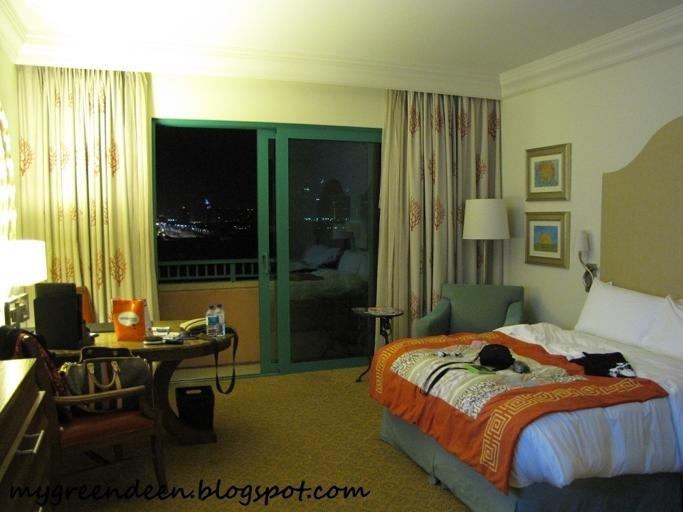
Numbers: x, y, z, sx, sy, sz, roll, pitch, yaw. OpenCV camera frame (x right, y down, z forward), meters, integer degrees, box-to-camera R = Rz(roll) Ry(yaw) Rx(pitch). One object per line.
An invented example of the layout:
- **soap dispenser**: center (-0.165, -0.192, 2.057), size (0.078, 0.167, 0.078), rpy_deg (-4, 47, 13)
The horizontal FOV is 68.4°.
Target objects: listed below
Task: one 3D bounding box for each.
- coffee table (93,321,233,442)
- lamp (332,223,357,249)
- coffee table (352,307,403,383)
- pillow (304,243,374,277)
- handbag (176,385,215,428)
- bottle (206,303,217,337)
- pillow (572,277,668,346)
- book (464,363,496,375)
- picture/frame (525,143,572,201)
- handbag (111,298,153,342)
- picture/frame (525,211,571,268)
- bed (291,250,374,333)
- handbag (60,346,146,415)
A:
- **coffee table**: center (-1.435, 1.090, 4.088), size (1.140, 0.749, 1.158), rpy_deg (-10, -9, 33)
- **lamp**: center (0.033, -0.245, 5.715), size (0.296, 0.304, 0.240), rpy_deg (0, 4, -10)
- **coffee table**: center (0.456, 0.977, 5.463), size (0.539, 0.705, 0.618), rpy_deg (8, -15, 10)
- **pillow**: center (-0.033, -0.013, 5.702), size (0.503, 0.186, 0.378), rpy_deg (10, 10, -9)
- **handbag**: center (-1.217, 1.293, 4.203), size (0.298, 0.332, 0.236), rpy_deg (1, -13, -22)
- **bottle**: center (-1.019, 0.498, 3.954), size (0.090, 0.216, 0.226), rpy_deg (-2, 9, -18)
- **pillow**: center (2.387, 0.499, 4.291), size (0.148, 0.453, 0.558), rpy_deg (28, 1, -24)
- **book**: center (0.998, 0.821, 3.627), size (0.071, 0.047, 0.301), rpy_deg (10, 0, -19)
- **picture/frame**: center (2.195, -0.880, 5.389), size (0.046, 0.583, 0.564), rpy_deg (-5, 6, -31)
- **handbag**: center (-1.598, 0.495, 3.826), size (0.281, 0.362, 0.136), rpy_deg (-2, -6, -9)
- **picture/frame**: center (2.200, -0.177, 5.433), size (0.535, 0.561, 0.031), rpy_deg (3, -3, -17)
- **bed**: center (-0.285, 0.373, 6.257), size (1.545, 0.814, 1.632), rpy_deg (-2, 1, 9)
- **handbag**: center (-1.608, 0.839, 3.388), size (0.514, 0.435, 0.272), rpy_deg (4, -10, -42)
